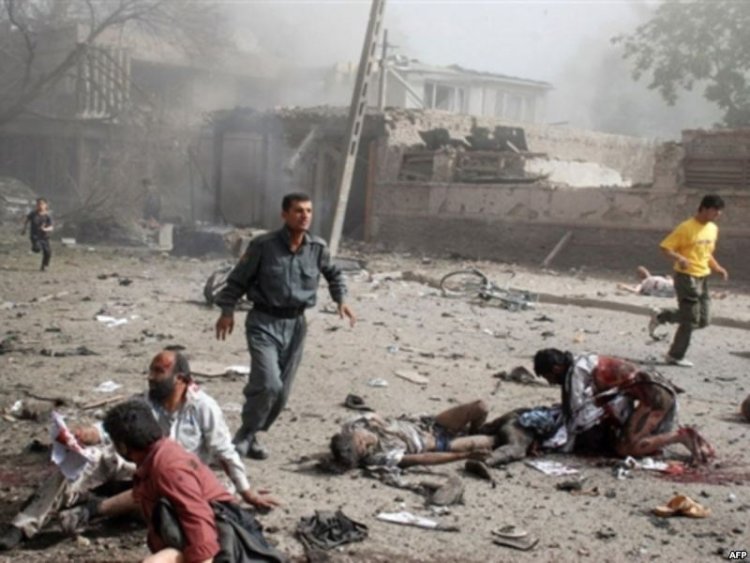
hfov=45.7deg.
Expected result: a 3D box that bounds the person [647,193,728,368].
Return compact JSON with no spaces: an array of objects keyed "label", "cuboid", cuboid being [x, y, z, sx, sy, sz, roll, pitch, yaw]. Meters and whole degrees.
[{"label":"person","cuboid":[4.293,-0.048,12.155,0.842,2.281,1.572,9,7,21]}]

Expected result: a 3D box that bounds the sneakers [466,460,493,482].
[{"label":"sneakers","cuboid":[1.061,1.942,9.289,0.302,0.140,0.140,31,27,32]}]

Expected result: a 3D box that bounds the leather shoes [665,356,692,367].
[{"label":"leather shoes","cuboid":[3.982,1.060,11.841,0.348,0.130,0.139,2,4,-3]}]

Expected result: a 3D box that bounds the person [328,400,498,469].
[{"label":"person","cuboid":[0.298,1.707,9.532,1.202,0.365,0.840,-5,19,-17]}]

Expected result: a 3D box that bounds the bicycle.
[{"label":"bicycle","cuboid":[1.935,0.042,15.647,1.320,0.485,0.812,10,-12,43]}]

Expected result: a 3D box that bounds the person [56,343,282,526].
[{"label":"person","cuboid":[-2.117,1.499,8.652,0.821,1.522,2.287,-6,-9,44]}]

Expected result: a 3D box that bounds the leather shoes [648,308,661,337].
[{"label":"leather shoes","cuboid":[4.026,0.604,12.948,0.114,0.358,0.153,5,-7,20]}]

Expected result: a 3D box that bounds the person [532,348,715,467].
[{"label":"person","cuboid":[2.662,1.335,9.701,1.980,1.098,1.109,2,2,29]}]

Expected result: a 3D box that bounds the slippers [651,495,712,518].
[{"label":"slippers","cuboid":[2.971,2.183,8.704,0.353,0.142,0.255,2,-4,-4]}]
